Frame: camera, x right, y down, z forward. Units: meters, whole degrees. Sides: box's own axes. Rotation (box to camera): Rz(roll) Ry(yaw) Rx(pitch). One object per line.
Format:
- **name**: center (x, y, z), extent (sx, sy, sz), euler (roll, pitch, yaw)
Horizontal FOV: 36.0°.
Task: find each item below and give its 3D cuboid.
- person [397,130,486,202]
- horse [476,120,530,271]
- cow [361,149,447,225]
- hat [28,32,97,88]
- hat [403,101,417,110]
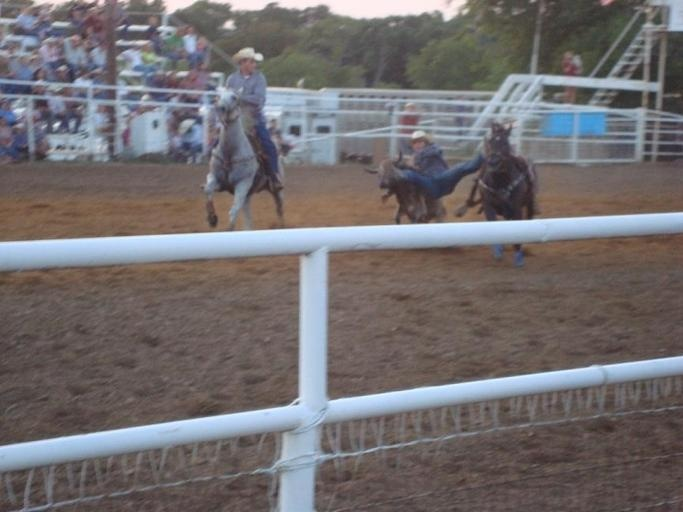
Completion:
- **person**: center (1.098, -0.964, 11.052), extent (1.365, 0.625, 0.821), euler (4, 9, 27)
- **horse**: center (1.666, -0.551, 10.451), extent (0.525, 1.377, 2.091), euler (-1, 2, 16)
- **cow**: center (0.724, -0.667, 10.778), extent (0.743, 0.755, 0.388), euler (-5, 14, -13)
- **hat**: center (-3.157, -2.233, 11.964), extent (0.557, 0.508, 0.171), euler (-5, 14, -13)
- **hat**: center (0.840, -1.834, 12.918), extent (0.122, 0.094, 0.116), euler (-19, 19, 9)
